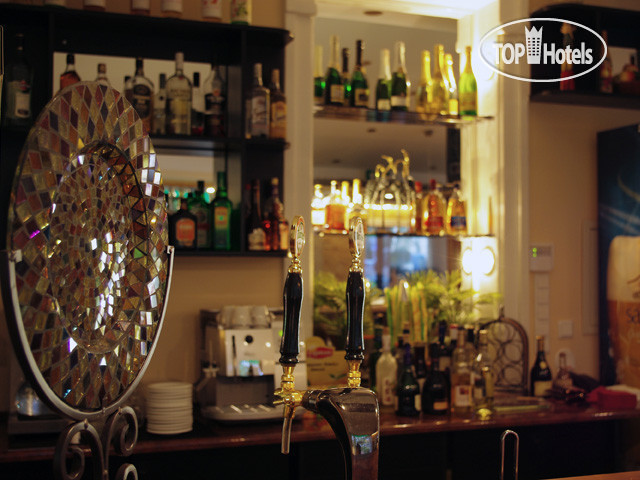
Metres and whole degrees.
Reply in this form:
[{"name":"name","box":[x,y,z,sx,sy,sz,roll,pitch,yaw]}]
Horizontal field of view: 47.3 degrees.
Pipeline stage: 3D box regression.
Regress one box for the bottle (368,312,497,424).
[{"name":"bottle","box":[0.553,0.644,3.592,0.440,0.463,0.158,2,-7,-14]}]

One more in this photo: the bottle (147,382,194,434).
[{"name":"bottle","box":[-0.638,0.718,3.104,0.181,0.190,0.122,0,2,-18]}]

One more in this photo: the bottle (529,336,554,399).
[{"name":"bottle","box":[1.164,0.663,3.846,0.116,0.311,0.257,1,2,17]}]

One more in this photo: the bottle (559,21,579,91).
[{"name":"bottle","box":[1.315,-0.976,3.890,0.077,0.377,0.134,1,1,18]}]

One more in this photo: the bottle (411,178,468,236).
[{"name":"bottle","box":[0.653,-0.174,4.080,0.280,0.305,0.114,1,-6,-20]}]

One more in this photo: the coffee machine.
[{"name":"coffee machine","box":[-0.370,0.548,3.334,0.399,0.496,0.452,0,2,-10]}]

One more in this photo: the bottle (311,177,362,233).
[{"name":"bottle","box":[0.074,-0.183,3.906,0.344,0.286,0.116,-1,2,-31]}]
